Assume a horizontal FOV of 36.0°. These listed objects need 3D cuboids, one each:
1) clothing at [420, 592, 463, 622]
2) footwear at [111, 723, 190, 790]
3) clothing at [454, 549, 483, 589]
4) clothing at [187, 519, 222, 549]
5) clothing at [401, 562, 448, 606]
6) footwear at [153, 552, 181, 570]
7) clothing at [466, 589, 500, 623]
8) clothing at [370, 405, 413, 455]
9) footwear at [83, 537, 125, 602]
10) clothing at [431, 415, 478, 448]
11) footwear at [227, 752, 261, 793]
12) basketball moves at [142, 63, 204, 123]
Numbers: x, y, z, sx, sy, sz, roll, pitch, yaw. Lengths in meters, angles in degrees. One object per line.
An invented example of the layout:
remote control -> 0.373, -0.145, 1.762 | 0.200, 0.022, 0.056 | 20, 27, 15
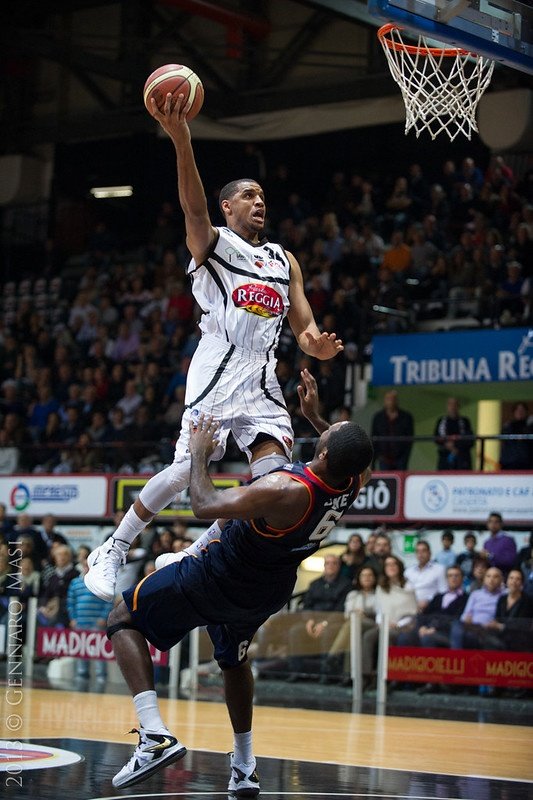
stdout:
clothing -> 1.622, 1.909, 7.528 | 0.147, 0.223, 0.247 | 29, -4, -35
footwear -> -0.459, 1.320, 3.051 | 0.292, 0.168, 0.099 | -28, -33, -3
clothing -> 1.882, 1.580, 7.613 | 0.256, 0.273, 0.134 | -3, -14, 38
clothing -> -0.302, 0.664, 3.933 | 0.123, 0.066, 0.191 | 41, -65, -19
clothing -> 1.510, 1.750, 7.745 | 0.223, 0.356, 0.387 | 27, -10, -23
footwear -> -0.488, 0.779, 3.988 | 0.163, 0.061, 0.188 | 0, 1, 4
clothing -> 1.951, 1.852, 7.329 | 0.284, 0.290, 0.172 | 0, -34, 42
clothing -> 1.504, 0.364, 9.741 | 0.552, 0.659, 0.387 | -2, -15, 15
footwear -> -0.745, 0.774, 3.797 | 0.127, 0.189, 0.420 | 42, 0, -14
clothing -> 2.190, 0.352, 9.545 | 0.405, 0.481, 0.187 | 4, -8, 11
footwear -> -0.093, 1.573, 3.415 | 0.080, 0.132, 0.207 | 2, -12, -8
basketball moves -> -0.391, -1.315, 3.450 | 0.237, 0.292, 0.213 | 0, -2, -6
